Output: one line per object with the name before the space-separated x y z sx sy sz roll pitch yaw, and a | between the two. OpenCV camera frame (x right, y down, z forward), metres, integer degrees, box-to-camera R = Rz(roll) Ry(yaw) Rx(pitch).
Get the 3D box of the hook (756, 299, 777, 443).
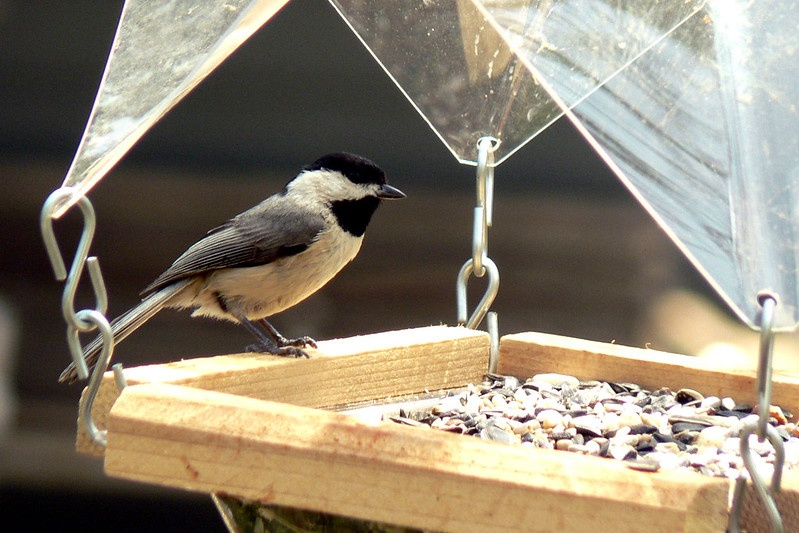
hook | 0.785 0.210 2.065 0.035 0.309 0.144 2 -7 21
